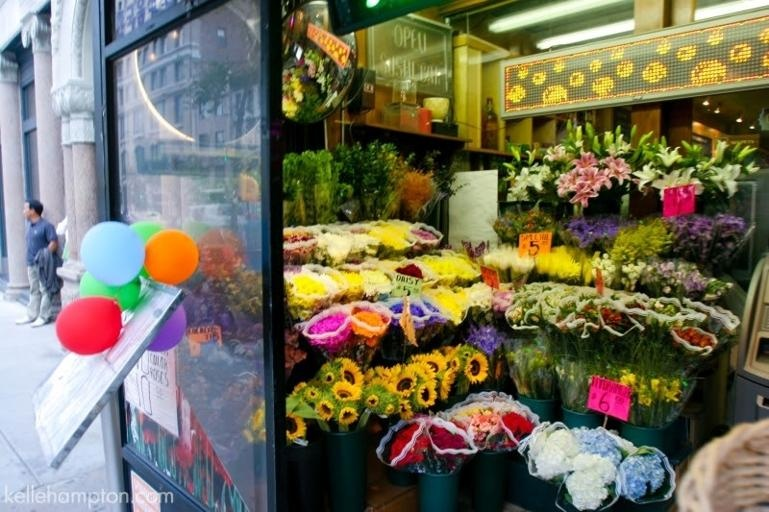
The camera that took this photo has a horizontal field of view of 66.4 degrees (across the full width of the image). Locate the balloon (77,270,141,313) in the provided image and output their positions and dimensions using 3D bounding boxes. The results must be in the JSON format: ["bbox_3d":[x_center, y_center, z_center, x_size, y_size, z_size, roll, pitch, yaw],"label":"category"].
[{"bbox_3d":[-1.141,0.151,2.456,0.236,0.114,0.138,2,-17,12],"label":"balloon"}]

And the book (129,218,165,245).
[{"bbox_3d":[-1.032,-0.108,2.534,0.106,0.074,0.132,3,10,-2],"label":"book"}]

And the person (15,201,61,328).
[{"bbox_3d":[-4.107,0.076,6.948,0.558,1.408,0.520,6,11,33],"label":"person"}]

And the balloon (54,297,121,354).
[{"bbox_3d":[-1.160,0.281,2.374,0.246,0.191,0.187,-27,-8,-19],"label":"balloon"}]

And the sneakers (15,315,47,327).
[{"bbox_3d":[-4.152,0.754,6.898,0.471,0.092,0.250,7,12,34],"label":"sneakers"}]
